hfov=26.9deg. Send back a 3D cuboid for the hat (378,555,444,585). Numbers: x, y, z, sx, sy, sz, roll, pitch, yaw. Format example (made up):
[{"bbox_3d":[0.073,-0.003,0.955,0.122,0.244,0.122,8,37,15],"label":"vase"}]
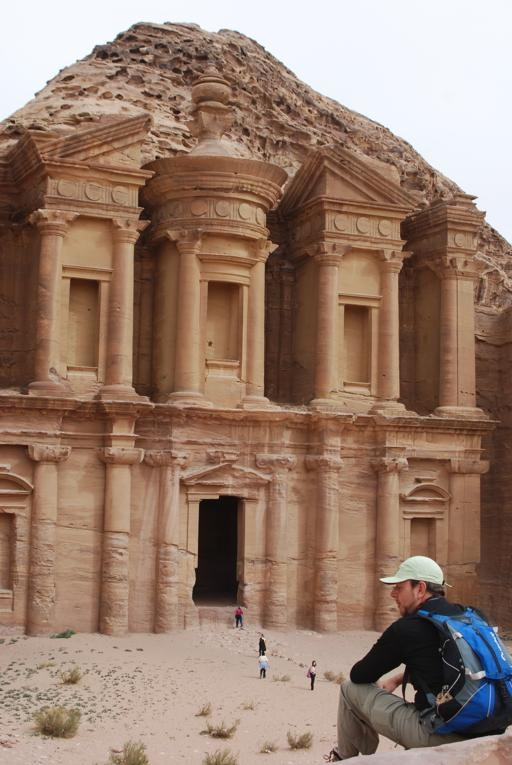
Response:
[{"bbox_3d":[1.251,1.533,8.718,0.422,0.182,0.261,3,-10,10],"label":"hat"}]
